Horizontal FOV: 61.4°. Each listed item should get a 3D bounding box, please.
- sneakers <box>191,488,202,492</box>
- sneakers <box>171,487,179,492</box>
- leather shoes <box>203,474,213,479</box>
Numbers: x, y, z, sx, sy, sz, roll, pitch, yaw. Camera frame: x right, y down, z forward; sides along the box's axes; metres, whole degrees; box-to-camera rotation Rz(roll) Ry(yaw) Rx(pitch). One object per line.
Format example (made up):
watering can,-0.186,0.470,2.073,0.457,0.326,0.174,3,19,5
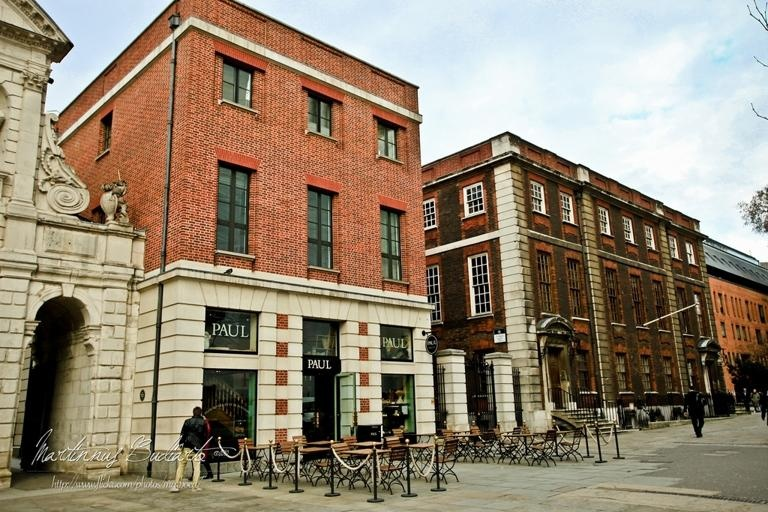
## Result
sneakers,-5.926,7.330,20.349,0.253,0.143,0.273,3,-22,-16
sneakers,-6.583,7.331,20.317,0.272,0.166,0.265,5,-22,-19
leather shoes,-6.069,7.609,22.307,0.419,0.164,0.143,-5,-19,30
